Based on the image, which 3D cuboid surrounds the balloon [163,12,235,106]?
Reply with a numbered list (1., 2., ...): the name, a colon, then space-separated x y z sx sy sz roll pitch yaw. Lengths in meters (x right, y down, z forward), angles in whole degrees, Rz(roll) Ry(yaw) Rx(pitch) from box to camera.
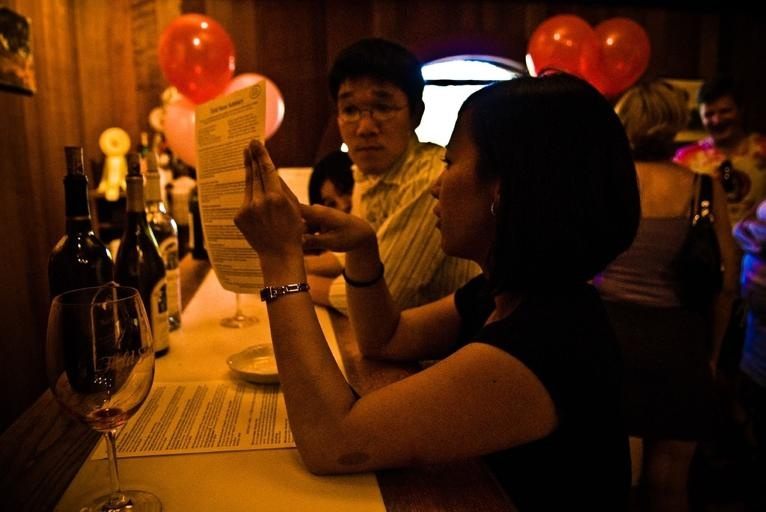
1. balloon: -0.881 -0.939 2.897 0.340 0.418 0.218 -6 13 -26
